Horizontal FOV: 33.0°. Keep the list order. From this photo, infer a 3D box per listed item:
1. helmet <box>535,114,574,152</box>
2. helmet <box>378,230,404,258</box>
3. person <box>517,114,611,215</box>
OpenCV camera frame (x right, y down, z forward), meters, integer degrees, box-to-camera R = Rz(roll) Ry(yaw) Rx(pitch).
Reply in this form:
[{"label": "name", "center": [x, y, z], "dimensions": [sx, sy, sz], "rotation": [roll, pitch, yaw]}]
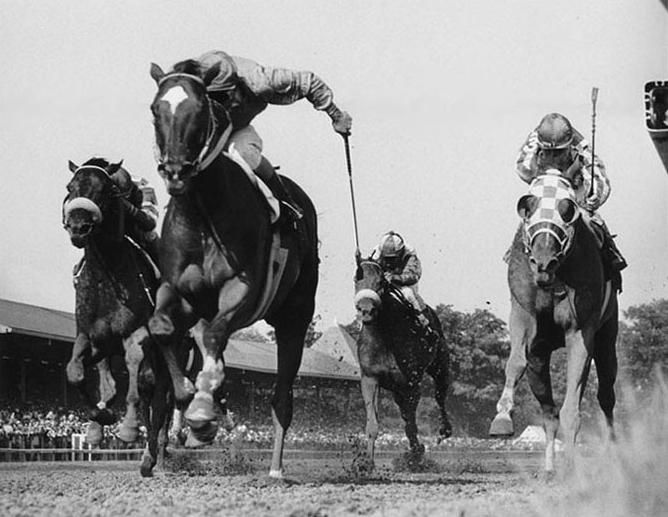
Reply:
[{"label": "helmet", "center": [2.453, -1.387, 12.563], "dimensions": [0.389, 0.432, 0.303], "rotation": [-1, -6, 12]}, {"label": "helmet", "center": [0.782, -0.201, 15.544], "dimensions": [0.382, 0.309, 0.572], "rotation": [1, 29, 5]}, {"label": "person", "center": [2.443, -0.920, 12.090], "dimensions": [0.781, 1.187, 0.644], "rotation": [-2, -19, 9]}]
